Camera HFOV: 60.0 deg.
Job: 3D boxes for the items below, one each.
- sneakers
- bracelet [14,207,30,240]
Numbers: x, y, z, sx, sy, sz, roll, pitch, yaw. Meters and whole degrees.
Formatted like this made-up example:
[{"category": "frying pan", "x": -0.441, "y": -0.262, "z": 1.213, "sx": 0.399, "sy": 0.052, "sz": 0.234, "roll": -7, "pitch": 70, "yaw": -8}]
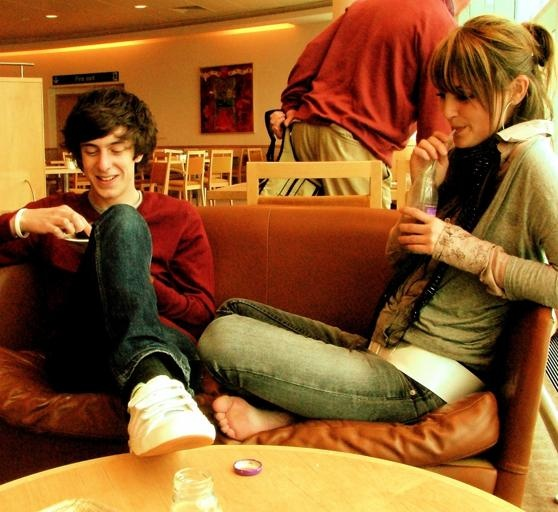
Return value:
[{"category": "sneakers", "x": -0.197, "y": 0.272, "z": 0.808, "sx": 0.117, "sy": 0.110, "sz": 0.267, "roll": 1, "pitch": -18, "yaw": -29}, {"category": "bracelet", "x": -0.782, "y": -0.096, "z": 1.461, "sx": 0.068, "sy": 0.073, "sz": 0.028, "roll": 8, "pitch": 4, "yaw": 43}]
